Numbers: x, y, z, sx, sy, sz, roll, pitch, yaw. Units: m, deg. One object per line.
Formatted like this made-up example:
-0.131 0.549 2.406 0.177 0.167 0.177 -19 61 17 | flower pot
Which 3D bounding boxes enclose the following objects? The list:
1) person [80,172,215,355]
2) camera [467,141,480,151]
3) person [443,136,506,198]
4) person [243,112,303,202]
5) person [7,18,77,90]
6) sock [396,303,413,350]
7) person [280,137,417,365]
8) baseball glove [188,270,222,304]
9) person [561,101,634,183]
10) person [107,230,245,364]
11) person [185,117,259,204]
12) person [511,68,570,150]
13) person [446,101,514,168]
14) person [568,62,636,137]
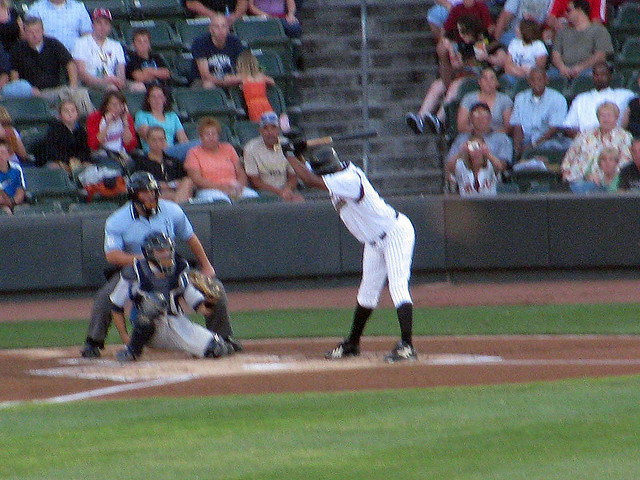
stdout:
-1.421 0.240 11.062 1.197 1.589 0.823 -4 18 -15 | person
1.447 -0.887 12.774 0.086 0.088 0.084 4 9 14 | camera
1.499 -0.684 12.914 0.427 0.811 0.244 -13 -2 2 | person
-0.435 -0.759 12.979 0.542 0.882 0.647 -11 16 -26 | person
-2.948 -1.924 14.195 0.605 0.977 0.510 -9 15 -21 | person
0.656 0.665 10.474 0.109 0.376 0.102 -4 9 -6 | sock
0.264 0.069 11.106 0.938 1.893 1.593 -3 9 -1 | person
-0.905 0.312 10.855 0.268 0.390 0.111 6 41 3 | baseball glove
2.695 -0.921 13.000 0.708 0.704 0.403 10 3 21 | person
-1.189 0.478 10.895 1.028 1.021 0.582 1 -3 -36 | person
-0.974 -0.765 12.931 0.660 0.785 0.453 -4 9 -6 | person
2.217 -1.349 13.613 0.580 0.736 0.274 -1 9 8 | person
1.659 -1.063 13.394 0.946 0.865 0.560 1 5 10 | person
2.812 -1.375 13.499 0.666 0.913 0.389 -6 -32 21 | person
